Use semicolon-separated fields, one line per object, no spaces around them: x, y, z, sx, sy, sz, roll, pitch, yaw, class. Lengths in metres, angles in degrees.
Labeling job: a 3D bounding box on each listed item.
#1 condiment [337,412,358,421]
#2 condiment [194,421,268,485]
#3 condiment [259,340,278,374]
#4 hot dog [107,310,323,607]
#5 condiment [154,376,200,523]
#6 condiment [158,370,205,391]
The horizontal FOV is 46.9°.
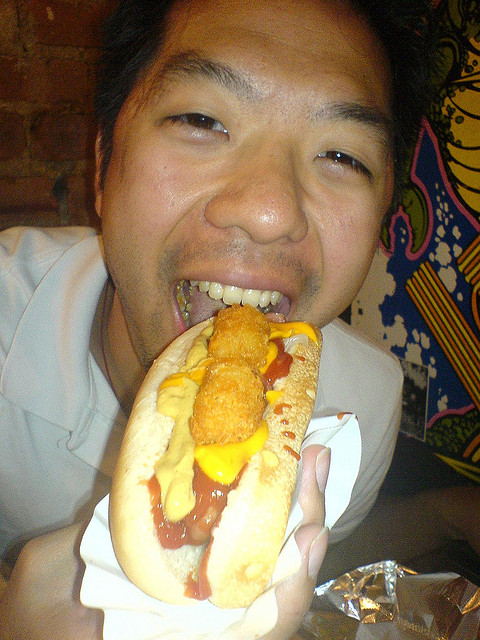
0.307;0.279;1.626;0.050;0.035;0.017;10;79;-42;condiment
-0.006;0.271;1.176;0.188;0.067;0.091;-29;55;-34;condiment
0.078;0.096;1.425;0.026;0.062;0.068;21;82;-10;condiment
-0.045;0.207;1.362;0.376;0.281;0.822;30;61;-19;hot dog
-0.134;0.272;1.194;0.083;0.074;0.279;-5;65;10;condiment
-0.135;0.138;1.319;0.067;0.069;0.029;-17;90;-20;condiment
